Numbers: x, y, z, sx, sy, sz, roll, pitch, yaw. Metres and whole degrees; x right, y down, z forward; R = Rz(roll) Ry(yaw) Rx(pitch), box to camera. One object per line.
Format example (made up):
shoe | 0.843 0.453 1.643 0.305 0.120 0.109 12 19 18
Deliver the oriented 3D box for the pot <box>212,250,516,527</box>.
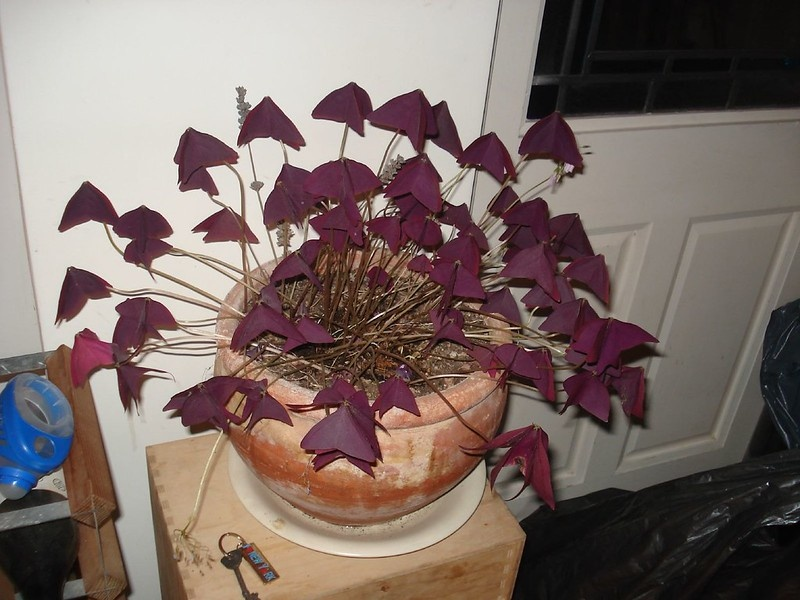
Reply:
pot | -0.043 0.198 0.996 0.494 0.519 0.338 -8 56 19
